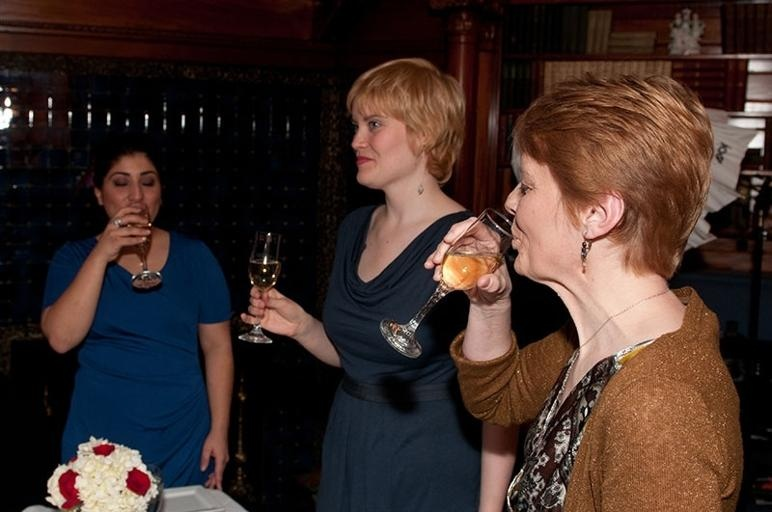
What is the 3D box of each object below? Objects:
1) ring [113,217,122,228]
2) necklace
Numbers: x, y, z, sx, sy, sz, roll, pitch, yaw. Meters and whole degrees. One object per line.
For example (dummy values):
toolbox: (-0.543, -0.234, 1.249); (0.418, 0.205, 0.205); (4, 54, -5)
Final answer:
ring: (-1.143, -0.145, 2.704); (0.038, 0.036, 0.009); (3, -7, -6)
necklace: (0.624, 0.176, 1.662); (0.043, 0.292, 0.035); (18, 45, -13)
